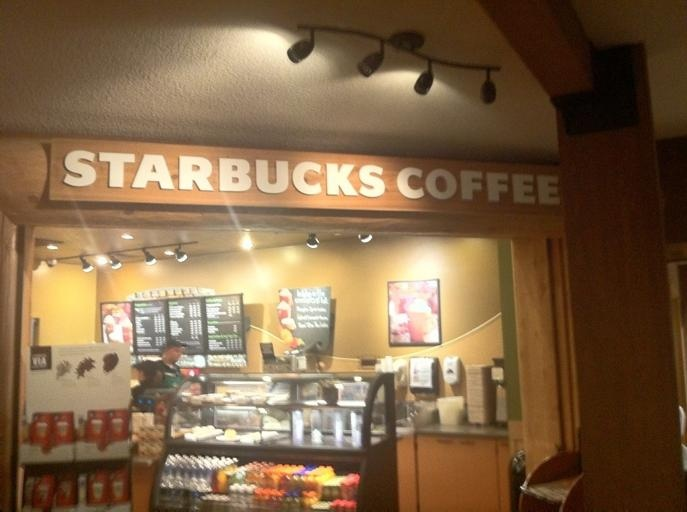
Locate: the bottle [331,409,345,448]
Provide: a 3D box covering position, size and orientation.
[{"bbox_3d":[-0.039,1.261,4.643,0.078,0.260,0.121,-1,-10,-1],"label":"bottle"}]

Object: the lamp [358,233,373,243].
[{"bbox_3d":[0.234,-0.206,7.040,0.105,0.066,0.105,1,11,8],"label":"lamp"}]

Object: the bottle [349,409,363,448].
[{"bbox_3d":[0.090,1.258,4.587,0.050,0.249,0.134,5,-11,-32],"label":"bottle"}]

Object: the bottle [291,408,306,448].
[{"bbox_3d":[-0.344,1.268,4.691,0.096,0.253,0.096,-1,-10,0],"label":"bottle"}]

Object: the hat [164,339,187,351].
[{"bbox_3d":[-2.090,1.069,7.645,0.242,0.102,0.281,-3,0,-15],"label":"hat"}]

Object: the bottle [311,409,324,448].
[{"bbox_3d":[-0.200,1.267,4.687,0.087,0.250,0.096,-1,-10,-3],"label":"bottle"}]

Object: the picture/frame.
[{"bbox_3d":[0.810,0.624,6.940,0.762,0.843,0.108,-2,-5,24],"label":"picture/frame"}]

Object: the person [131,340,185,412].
[{"bbox_3d":[-1.934,1.247,6.595,0.323,0.855,0.519,-29,-37,32],"label":"person"}]

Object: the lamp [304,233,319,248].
[{"bbox_3d":[-0.389,-0.188,7.216,0.156,0.163,0.155,5,8,25],"label":"lamp"}]
